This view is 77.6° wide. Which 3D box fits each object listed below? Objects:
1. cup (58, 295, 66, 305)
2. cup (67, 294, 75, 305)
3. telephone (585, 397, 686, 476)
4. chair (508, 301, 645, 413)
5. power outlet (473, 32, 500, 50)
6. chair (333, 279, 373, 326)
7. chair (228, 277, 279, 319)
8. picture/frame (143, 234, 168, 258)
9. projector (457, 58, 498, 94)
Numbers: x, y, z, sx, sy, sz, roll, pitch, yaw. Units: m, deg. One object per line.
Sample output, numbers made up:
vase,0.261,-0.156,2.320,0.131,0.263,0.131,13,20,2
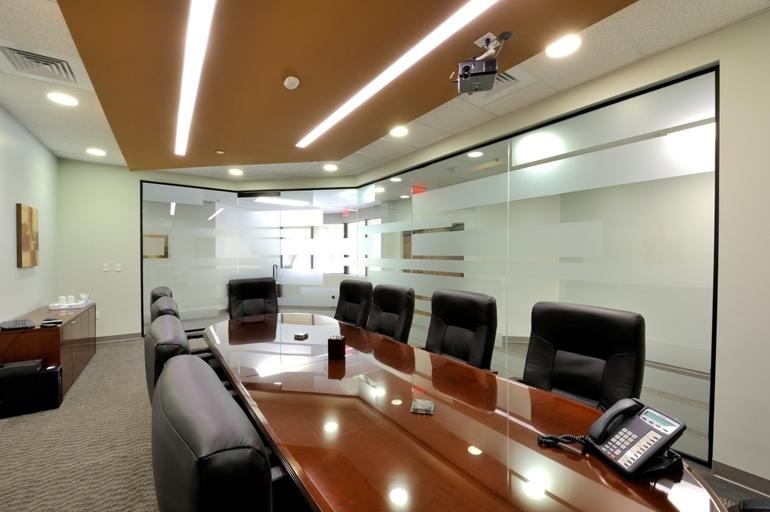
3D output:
cup,-4.266,0.576,6.335,0.075,0.139,0.075,1,6,0
cup,-4.191,0.573,6.408,0.081,0.151,0.081,-1,1,0
telephone,1.599,1.149,3.109,0.539,0.194,0.414,-36,32,-12
chair,1.600,0.748,4.083,0.755,1.085,0.872,5,-6,37
power outlet,0.802,-1.708,3.807,0.152,0.102,0.057,4,41,34
chair,-0.363,0.524,5.520,0.421,0.598,0.500,5,1,41
chair,-1.852,0.557,6.382,0.479,0.706,0.589,0,-5,-29
picture/frame,-3.618,-0.175,7.519,0.372,0.345,0.036,1,-3,-34
projector,0.753,-1.438,3.918,0.255,0.171,0.280,-2,-6,12
